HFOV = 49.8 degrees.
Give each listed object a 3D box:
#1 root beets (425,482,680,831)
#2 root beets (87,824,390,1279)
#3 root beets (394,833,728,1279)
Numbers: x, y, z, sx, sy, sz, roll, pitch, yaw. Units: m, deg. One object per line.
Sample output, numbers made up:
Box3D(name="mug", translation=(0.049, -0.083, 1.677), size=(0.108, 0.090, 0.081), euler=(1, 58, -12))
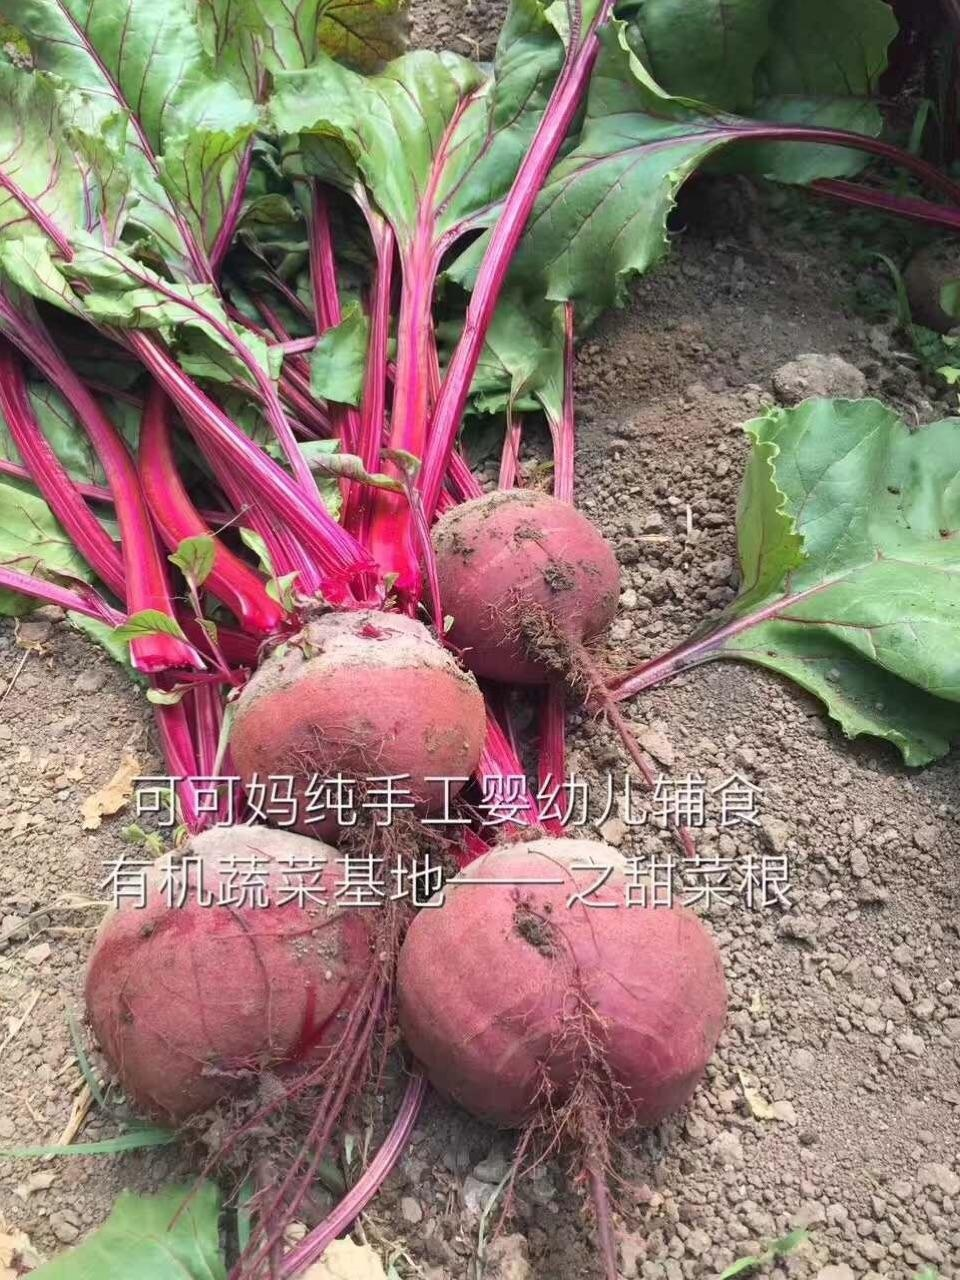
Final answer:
Box3D(name="root beets", translation=(0.132, 0.007, 1.592), size=(0.301, 0.281, 0.669), euler=(-6, 37, -18))
Box3D(name="root beets", translation=(-0.421, 0.514, 1.517), size=(0.495, 0.441, 0.517), euler=(1, 2, -3))
Box3D(name="root beets", translation=(0.099, 0.476, 1.392), size=(0.361, 0.278, 0.578), euler=(-2, 33, -3))
